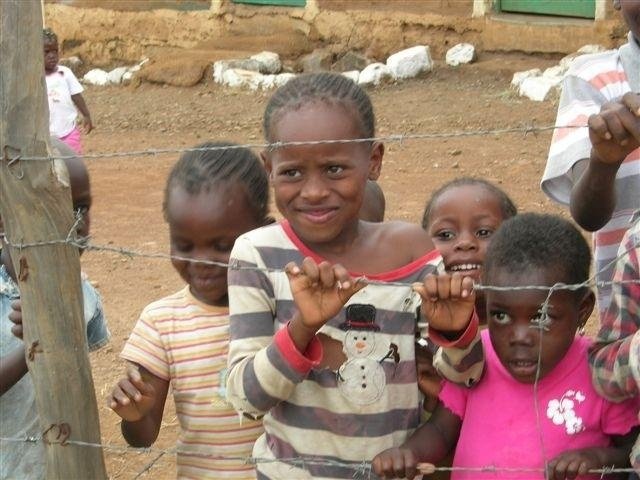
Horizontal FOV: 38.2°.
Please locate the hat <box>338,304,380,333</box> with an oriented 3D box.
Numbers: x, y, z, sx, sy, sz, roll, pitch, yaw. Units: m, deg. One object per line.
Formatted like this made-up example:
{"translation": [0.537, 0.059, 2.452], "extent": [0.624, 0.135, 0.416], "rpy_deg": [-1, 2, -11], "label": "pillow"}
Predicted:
{"translation": [0.133, 0.262, 3.102], "extent": [0.096, 0.099, 0.042], "rpy_deg": [-1, -3, 2], "label": "hat"}
